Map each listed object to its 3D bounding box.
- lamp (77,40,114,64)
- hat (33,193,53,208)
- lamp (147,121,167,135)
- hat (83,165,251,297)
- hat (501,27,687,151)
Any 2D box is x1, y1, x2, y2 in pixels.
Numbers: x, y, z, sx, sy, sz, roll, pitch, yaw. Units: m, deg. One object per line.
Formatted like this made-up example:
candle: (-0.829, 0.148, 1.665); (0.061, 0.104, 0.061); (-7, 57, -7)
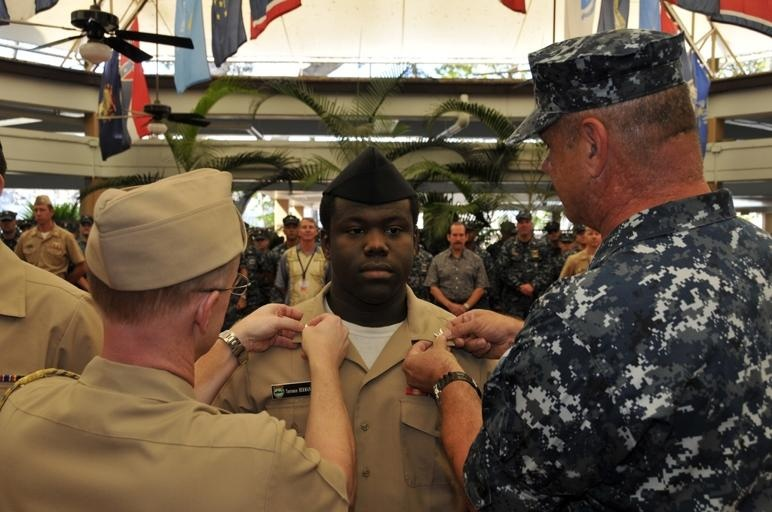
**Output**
lamp: (-2.966, -2.034, 7.857); (0.231, 0.172, 0.245); (4, 10, 25)
hat: (-4.679, -0.762, 10.622); (0.203, 0.166, 0.297); (0, -8, -6)
lamp: (-3.009, -1.642, 10.157); (0.196, 0.177, 0.233); (-1, -6, 1)
hat: (-0.779, -0.086, 2.727); (0.441, 0.244, 0.436); (-16, 20, -41)
hat: (0.747, -0.644, 2.796); (0.542, 0.302, 0.440); (-12, 14, 22)
